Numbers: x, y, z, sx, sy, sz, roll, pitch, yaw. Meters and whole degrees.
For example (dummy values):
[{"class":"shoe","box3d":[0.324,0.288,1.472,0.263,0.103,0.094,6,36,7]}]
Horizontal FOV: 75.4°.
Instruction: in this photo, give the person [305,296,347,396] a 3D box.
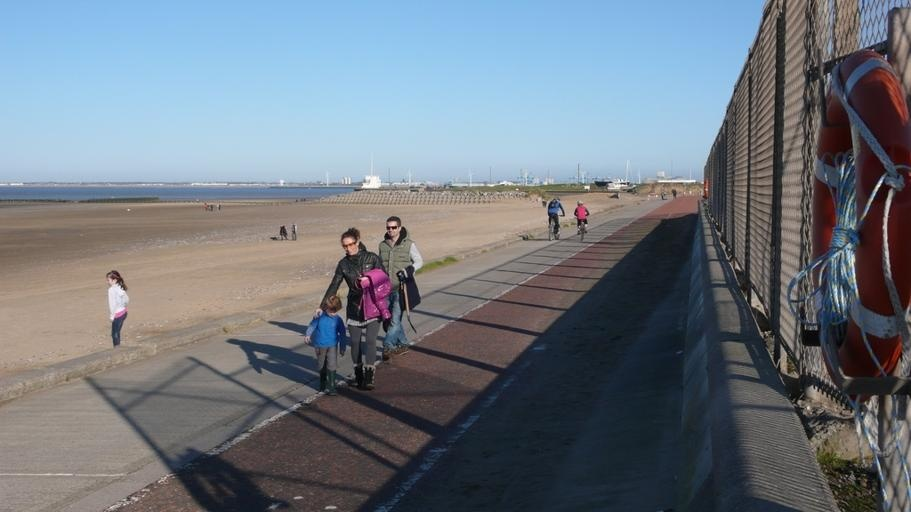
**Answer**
[{"class":"person","box3d":[-2.068,1.400,9.532,0.595,1.566,0.914,-5,7,-12]}]

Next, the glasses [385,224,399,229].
[{"class":"glasses","box3d":[-1.166,-0.542,11.115,0.199,0.121,0.286,-3,7,-3]}]

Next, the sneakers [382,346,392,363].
[{"class":"sneakers","box3d":[-1.262,1.855,10.993,0.214,0.227,0.580,3,-7,1]}]

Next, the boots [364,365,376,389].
[{"class":"boots","box3d":[-1.379,1.959,9.590,0.145,0.364,0.273,-2,7,10]}]
